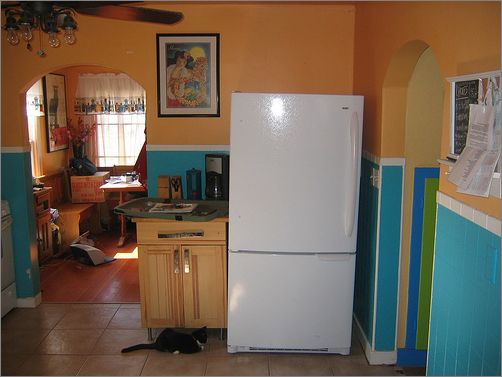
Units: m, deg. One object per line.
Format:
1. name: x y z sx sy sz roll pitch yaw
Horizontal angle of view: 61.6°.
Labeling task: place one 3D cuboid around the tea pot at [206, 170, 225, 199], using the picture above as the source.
1. tea pot: -0.364 -0.020 4.175 0.187 0.347 0.221 1 2 37

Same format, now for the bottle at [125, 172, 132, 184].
1. bottle: -1.888 -0.156 6.484 0.124 0.127 0.113 -4 14 -18

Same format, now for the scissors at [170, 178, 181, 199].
1. scissors: -0.778 0.001 4.332 0.057 0.198 0.191 0 3 -1

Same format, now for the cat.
1. cat: -0.772 1.403 3.829 0.487 0.244 0.168 -4 7 -12

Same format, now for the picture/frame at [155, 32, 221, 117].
1. picture/frame: -0.636 -1.195 4.257 0.673 0.979 0.034 1 11 4

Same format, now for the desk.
1. desk: -1.955 0.388 6.617 0.799 0.956 0.930 1 2 3

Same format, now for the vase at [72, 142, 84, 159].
1. vase: -2.854 -0.628 6.990 0.192 0.246 0.364 -6 15 -24

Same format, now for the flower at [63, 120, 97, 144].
1. flower: -2.872 -0.869 7.118 0.379 0.461 0.437 0 -24 -10
